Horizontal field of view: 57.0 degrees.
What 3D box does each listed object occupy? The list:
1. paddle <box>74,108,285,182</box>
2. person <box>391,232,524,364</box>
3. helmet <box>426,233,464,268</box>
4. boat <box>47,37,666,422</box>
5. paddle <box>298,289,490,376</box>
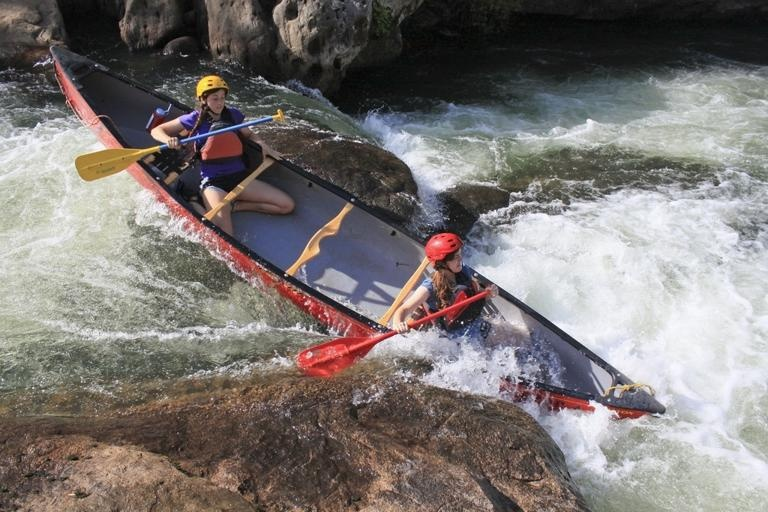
[{"bbox_3d":[-3.107,-1.637,10.535,2.860,0.433,0.391,-18,21,-4],"label":"paddle"},{"bbox_3d":[0.755,0.504,9.235,1.225,0.956,1.755,-43,48,-14],"label":"person"},{"bbox_3d":[0.773,-0.036,9.015,0.424,0.386,0.370,8,78,11],"label":"helmet"},{"bbox_3d":[-0.590,-0.358,10.720,9.199,1.239,1.699,34,66,12],"label":"boat"},{"bbox_3d":[0.166,1.045,9.286,2.502,0.137,0.451,-21,77,0],"label":"paddle"}]
